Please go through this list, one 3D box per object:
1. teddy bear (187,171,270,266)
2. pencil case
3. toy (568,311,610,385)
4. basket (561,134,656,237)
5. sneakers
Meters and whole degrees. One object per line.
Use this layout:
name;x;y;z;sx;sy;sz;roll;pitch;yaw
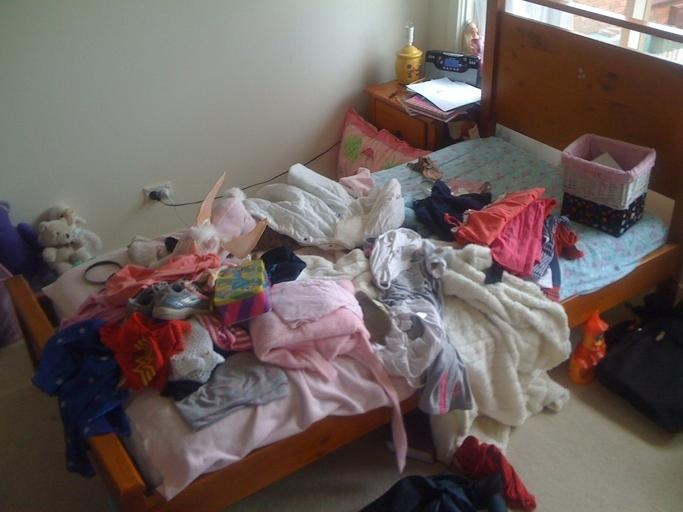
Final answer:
teddy bear;-0.471;-0.126;2.393;0.339;0.141;0.361;33;71;4
pencil case;-0.376;0.140;2.021;0.198;0.155;0.193;-8;36;-6
toy;1.115;0.423;2.399;0.167;0.363;0.152;-1;36;11
basket;1.211;-0.331;2.463;0.379;0.341;0.281;23;43;31
sneakers;-0.633;0.158;1.959;0.267;0.102;0.145;-11;28;-36
